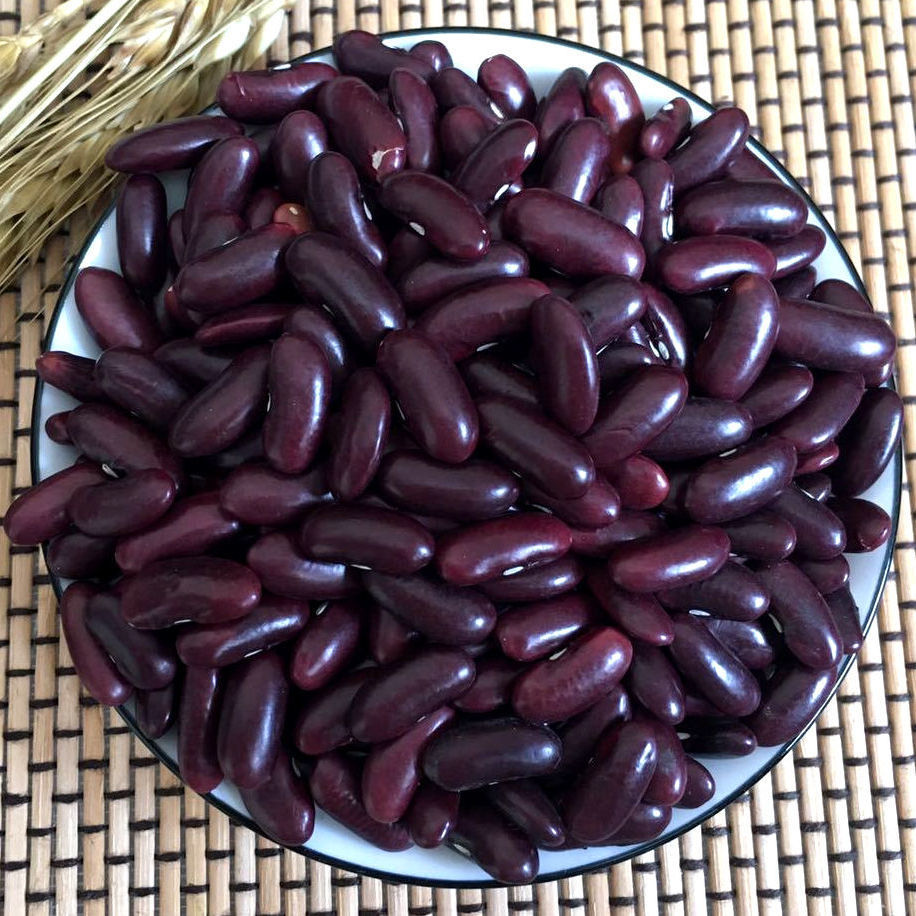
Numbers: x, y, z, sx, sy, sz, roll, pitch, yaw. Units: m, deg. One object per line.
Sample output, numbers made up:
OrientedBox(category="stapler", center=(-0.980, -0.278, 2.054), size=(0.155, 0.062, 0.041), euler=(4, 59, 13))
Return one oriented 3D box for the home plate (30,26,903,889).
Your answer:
OrientedBox(category="home plate", center=(-0.009, 0.009, 0.805), size=(0.667, 0.256, 0.497), euler=(-4, 96, -3))
